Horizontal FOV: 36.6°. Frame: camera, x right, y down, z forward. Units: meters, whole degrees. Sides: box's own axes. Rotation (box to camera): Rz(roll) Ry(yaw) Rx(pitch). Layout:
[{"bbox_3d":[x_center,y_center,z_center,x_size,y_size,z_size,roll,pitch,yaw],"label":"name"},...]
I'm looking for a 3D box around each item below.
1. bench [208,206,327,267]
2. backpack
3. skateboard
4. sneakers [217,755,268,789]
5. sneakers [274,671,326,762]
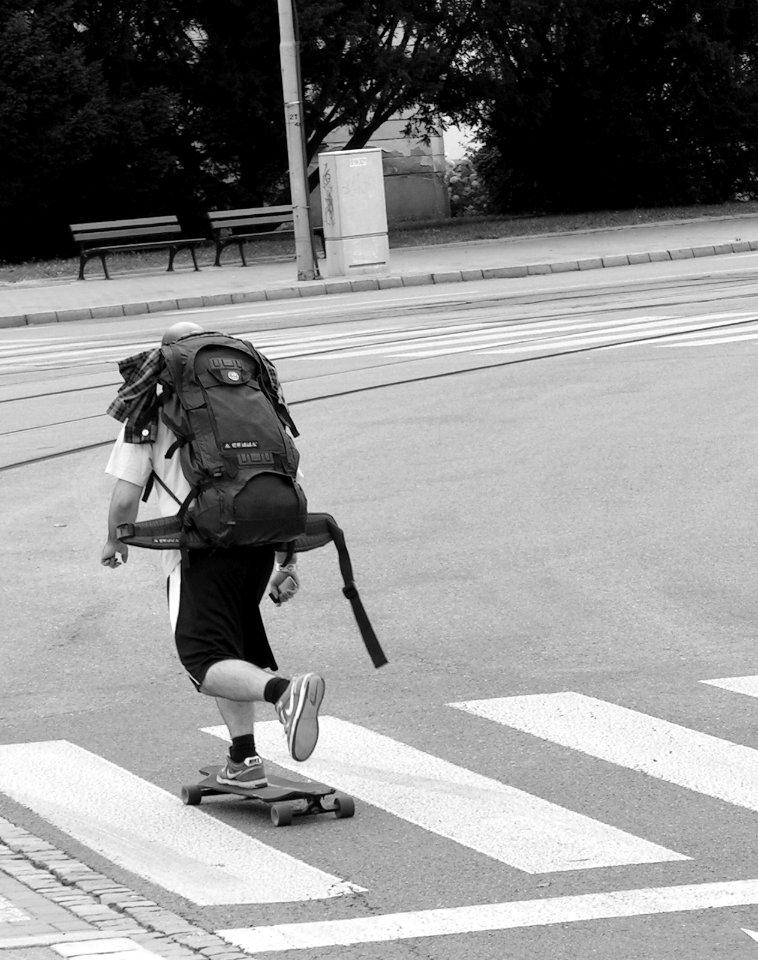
[{"bbox_3d":[-2.839,-6.105,28.748,2.990,1.153,1.003,-18,22,-37],"label":"bench"},{"bbox_3d":[-0.500,-0.035,3.352,0.551,0.823,0.403,-6,8,-12],"label":"backpack"},{"bbox_3d":[-0.311,0.918,3.375,0.432,0.069,0.180,4,6,45],"label":"skateboard"},{"bbox_3d":[-0.405,0.858,3.424,0.071,0.070,0.169,-5,7,-41],"label":"sneakers"},{"bbox_3d":[-0.214,0.623,3.071,0.122,0.254,0.094,20,31,35],"label":"sneakers"}]
